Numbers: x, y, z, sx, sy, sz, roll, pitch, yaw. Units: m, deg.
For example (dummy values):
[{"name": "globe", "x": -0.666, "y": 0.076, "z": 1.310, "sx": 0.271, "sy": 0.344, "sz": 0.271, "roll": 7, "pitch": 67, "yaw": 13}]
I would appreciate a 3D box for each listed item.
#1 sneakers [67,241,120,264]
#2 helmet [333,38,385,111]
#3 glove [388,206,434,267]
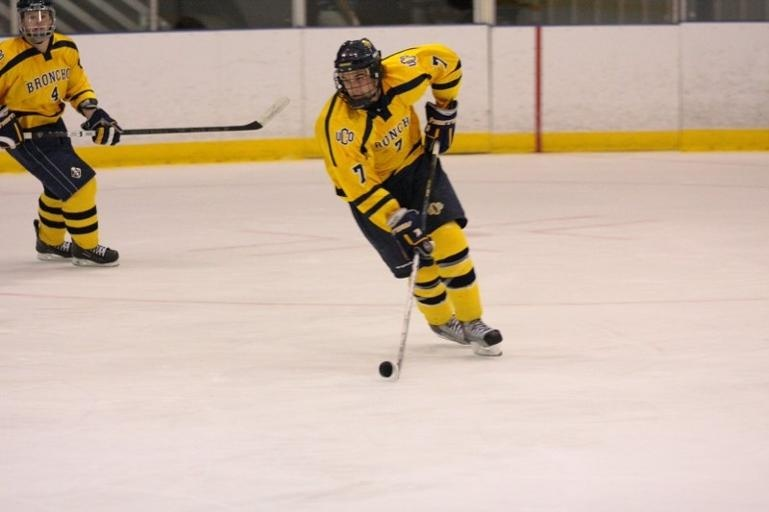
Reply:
[{"name": "sneakers", "x": -1.836, "y": -0.016, "z": 6.174, "sx": 0.388, "sy": 0.141, "sz": 0.122, "roll": -1, "pitch": 4, "yaw": 8}, {"name": "helmet", "x": -0.119, "y": -0.792, "z": 4.293, "sx": 0.221, "sy": 0.291, "sz": 0.206, "roll": -4, "pitch": 13, "yaw": 0}, {"name": "glove", "x": 0.107, "y": -0.102, "z": 4.313, "sx": 0.163, "sy": 0.251, "sz": 0.107, "roll": -47, "pitch": 12, "yaw": -6}]
